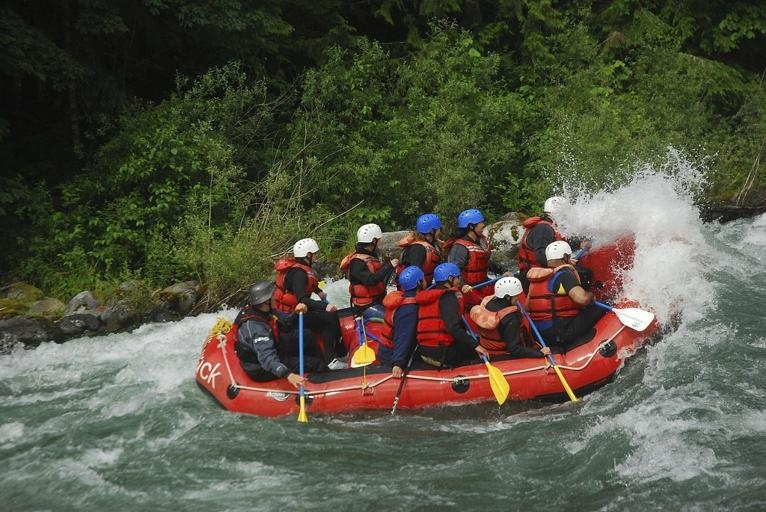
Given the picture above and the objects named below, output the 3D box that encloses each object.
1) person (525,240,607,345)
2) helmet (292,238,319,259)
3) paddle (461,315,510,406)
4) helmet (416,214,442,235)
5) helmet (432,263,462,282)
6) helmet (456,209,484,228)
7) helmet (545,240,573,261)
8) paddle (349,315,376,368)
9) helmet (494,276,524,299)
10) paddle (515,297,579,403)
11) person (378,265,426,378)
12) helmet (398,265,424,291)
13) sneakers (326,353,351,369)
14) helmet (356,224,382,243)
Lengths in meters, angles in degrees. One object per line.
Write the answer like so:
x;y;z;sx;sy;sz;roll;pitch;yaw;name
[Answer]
3.148;0.704;12.661;0.846;1.484;1.089;-30;33;-21;person
-1.477;-0.130;13.753;0.427;0.357;0.311;-34;10;2;helmet
1.735;1.799;12.255;0.258;0.074;1.738;-31;66;7;paddle
0.834;-0.613;13.633;0.408;0.239;0.332;-26;18;-14;helmet
1.063;0.283;12.457;0.374;0.241;0.291;-5;2;-24;helmet
1.620;-0.709;13.577;0.410;0.243;0.328;6;9;15;helmet
3.019;-0.069;12.606;0.364;0.310;0.314;-23;7;17;helmet
-0.326;1.453;12.484;0.394;1.056;0.062;-4;35;-10;paddle
2.092;0.569;12.234;0.395;0.342;0.303;-19;16;13;helmet
2.793;1.640;12.309;0.212;1.928;0.198;-25;-16;-26;paddle
0.332;1.201;12.499;0.934;1.746;0.879;30;40;32;person
0.480;0.390;12.519;0.329;0.239;0.435;5;59;34;helmet
-0.819;1.951;13.355;0.465;0.208;0.174;-4;4;-22;sneakers
-0.253;-0.440;13.733;0.307;0.259;0.412;-5;4;37;helmet
